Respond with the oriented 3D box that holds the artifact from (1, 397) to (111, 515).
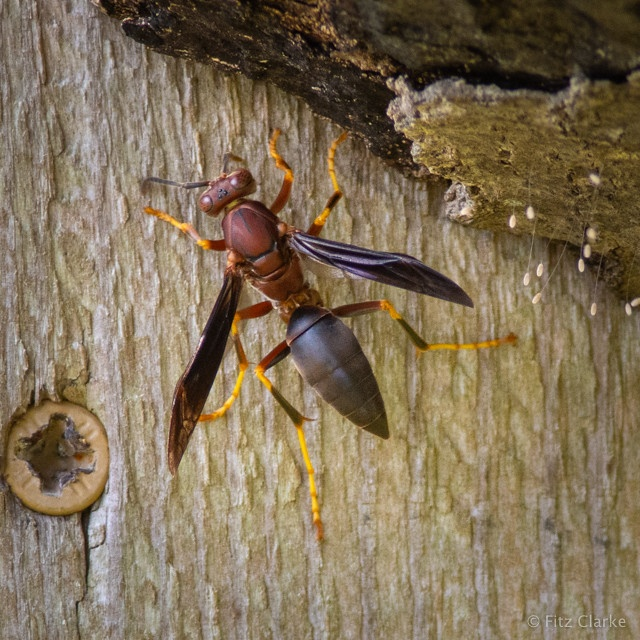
[{"bbox_3d":[-0.774,0.411,4.207,0.305,0.104,0.343,8,81,-3],"label":"artifact"}]
